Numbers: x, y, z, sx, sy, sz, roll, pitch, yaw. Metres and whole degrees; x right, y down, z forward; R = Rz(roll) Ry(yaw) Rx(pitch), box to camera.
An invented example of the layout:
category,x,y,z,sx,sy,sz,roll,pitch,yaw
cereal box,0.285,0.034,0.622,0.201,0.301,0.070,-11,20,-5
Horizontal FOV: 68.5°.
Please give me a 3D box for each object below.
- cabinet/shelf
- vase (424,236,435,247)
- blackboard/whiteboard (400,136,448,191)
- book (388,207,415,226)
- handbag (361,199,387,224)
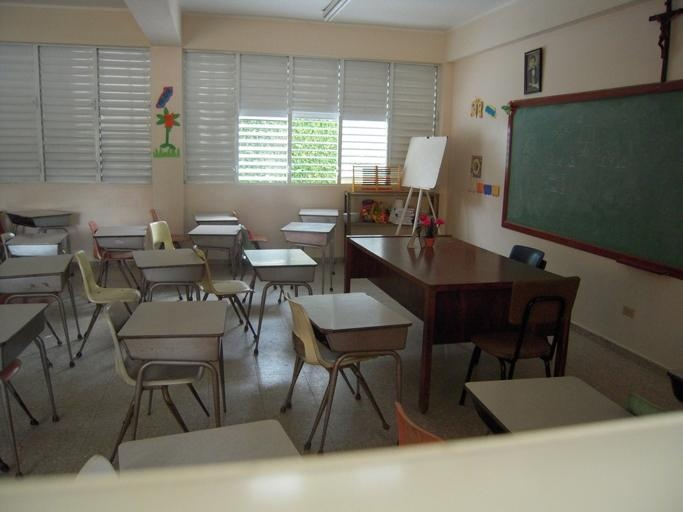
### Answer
category,x,y,z,sx,sy,sz,roll,pitch,yaw
cabinet/shelf,0.550,-0.473,5.660,0.731,0.726,0.266,-1,6,-6
vase,0.651,-0.107,3.696,0.065,0.054,0.070,0,14,2
blackboard/whiteboard,0.943,-1.049,5.674,0.077,0.808,0.702,16,-21,-28
book,0.773,-0.518,6.366,0.227,0.154,0.223,-7,12,-44
handbag,0.391,-0.559,6.360,0.249,0.127,0.335,-2,19,-10
